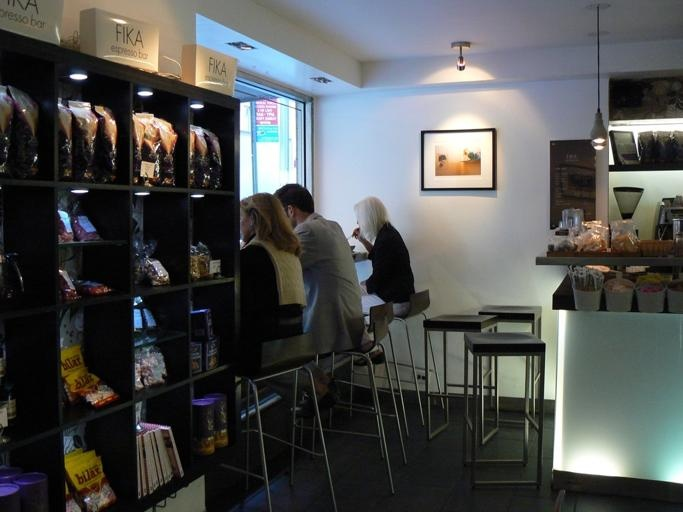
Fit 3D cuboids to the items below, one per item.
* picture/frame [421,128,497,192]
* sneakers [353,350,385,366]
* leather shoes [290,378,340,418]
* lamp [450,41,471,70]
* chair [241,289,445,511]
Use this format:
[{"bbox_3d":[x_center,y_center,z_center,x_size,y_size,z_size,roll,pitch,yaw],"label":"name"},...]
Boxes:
[{"bbox_3d":[1.147,-0.919,5.188,0.564,0.506,0.025,1,2,19],"label":"picture/frame"},{"bbox_3d":[0.222,0.766,4.254,0.138,0.177,0.193,-13,-9,-15],"label":"sneakers"},{"bbox_3d":[-0.161,0.882,3.331,0.165,0.139,0.399,29,-27,-12],"label":"leather shoes"},{"bbox_3d":[1.051,-1.766,4.832,0.197,0.282,0.209,1,11,6],"label":"lamp"},{"bbox_3d":[0.308,0.986,5.136,1.260,2.412,1.265,3,-3,7],"label":"chair"}]
